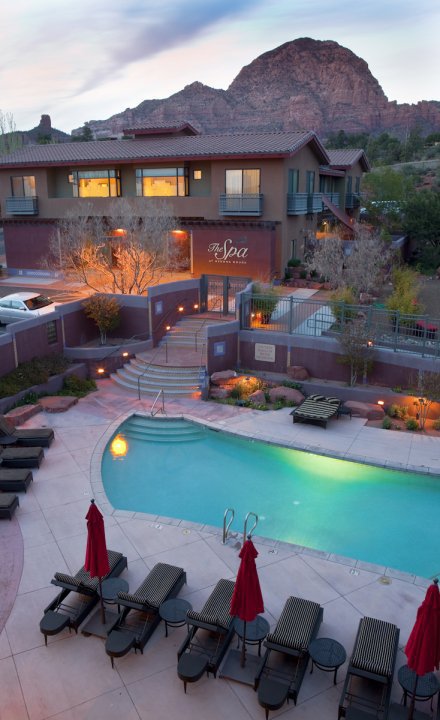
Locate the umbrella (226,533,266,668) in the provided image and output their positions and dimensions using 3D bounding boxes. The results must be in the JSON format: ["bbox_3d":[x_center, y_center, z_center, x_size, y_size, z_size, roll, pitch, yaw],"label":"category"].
[{"bbox_3d":[0.362,3.460,6.019,0.435,2.159,0.709,1,6,3],"label":"umbrella"}]

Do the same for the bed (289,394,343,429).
[{"bbox_3d":[3.805,2.083,17.052,1.468,0.891,2.210,4,7,34],"label":"bed"}]

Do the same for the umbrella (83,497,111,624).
[{"bbox_3d":[-2.050,3.345,7.150,0.344,2.281,0.605,-1,6,-16],"label":"umbrella"}]
